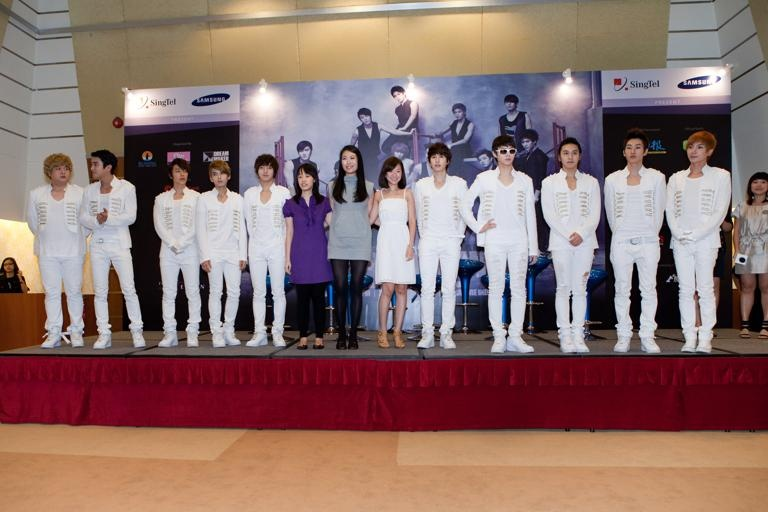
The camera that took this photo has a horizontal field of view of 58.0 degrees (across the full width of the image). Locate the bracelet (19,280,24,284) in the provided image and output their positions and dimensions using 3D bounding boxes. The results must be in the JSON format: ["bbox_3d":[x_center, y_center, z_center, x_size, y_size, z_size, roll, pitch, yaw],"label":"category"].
[{"bbox_3d":[-5.817,0.410,11.059,0.013,0.028,0.069,-39,19,4],"label":"bracelet"}]

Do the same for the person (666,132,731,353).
[{"bbox_3d":[3.632,-0.176,7.952,0.768,2.493,0.684,0,2,30],"label":"person"}]

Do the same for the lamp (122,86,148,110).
[{"bbox_3d":[-3.588,-2.273,9.959,0.332,0.310,0.223,-1,0,-4],"label":"lamp"}]

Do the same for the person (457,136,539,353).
[{"bbox_3d":[1.363,-0.170,7.966,0.809,2.446,0.501,-1,0,9],"label":"person"}]

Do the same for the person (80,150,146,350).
[{"bbox_3d":[-3.299,-0.111,8.403,0.706,2.487,0.619,-1,0,-24],"label":"person"}]

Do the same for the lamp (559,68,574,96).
[{"bbox_3d":[2.579,-2.442,9.733,0.185,0.357,0.179,0,0,-45],"label":"lamp"}]

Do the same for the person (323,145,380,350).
[{"bbox_3d":[-0.385,-0.110,8.179,0.537,2.407,0.352,-1,0,-3],"label":"person"}]

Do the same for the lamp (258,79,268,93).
[{"bbox_3d":[-1.733,-2.474,9.979,0.122,0.198,0.314,-1,-1,-2],"label":"lamp"}]

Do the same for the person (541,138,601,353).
[{"bbox_3d":[2.161,-0.144,7.917,0.662,2.379,0.512,-1,0,12],"label":"person"}]
